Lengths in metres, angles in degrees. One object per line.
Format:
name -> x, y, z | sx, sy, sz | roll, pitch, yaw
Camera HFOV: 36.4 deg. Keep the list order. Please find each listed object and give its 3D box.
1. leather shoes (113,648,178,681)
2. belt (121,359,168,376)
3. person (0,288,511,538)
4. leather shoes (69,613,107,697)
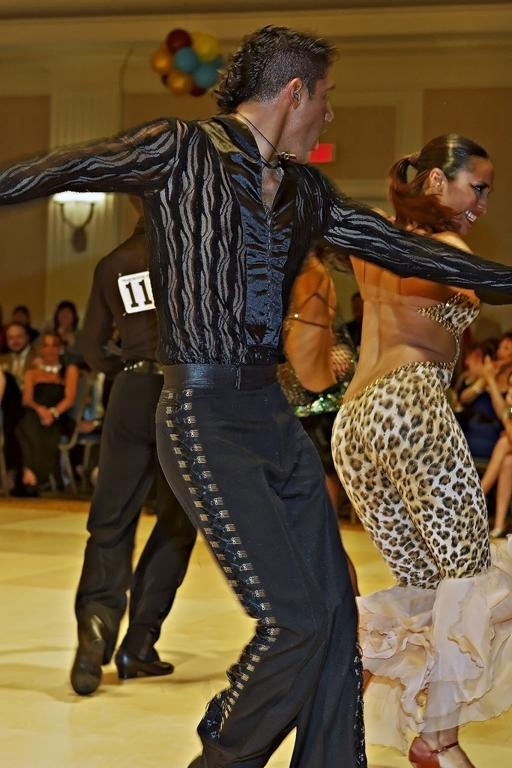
leather shoes -> -0.403, 0.987, 2.823 | 0.271, 0.105, 0.087 | -1, 3, -40
belt -> -0.384, -0.058, 2.668 | 0.130, 0.048, 0.151 | 0, -8, -11
person -> -0.012, 0.149, 2.902 | 2.640, 0.488, 0.937 | 0, 34, 5
leather shoes -> -0.541, 0.894, 2.549 | 0.103, 0.225, 0.105 | 10, -21, -9
